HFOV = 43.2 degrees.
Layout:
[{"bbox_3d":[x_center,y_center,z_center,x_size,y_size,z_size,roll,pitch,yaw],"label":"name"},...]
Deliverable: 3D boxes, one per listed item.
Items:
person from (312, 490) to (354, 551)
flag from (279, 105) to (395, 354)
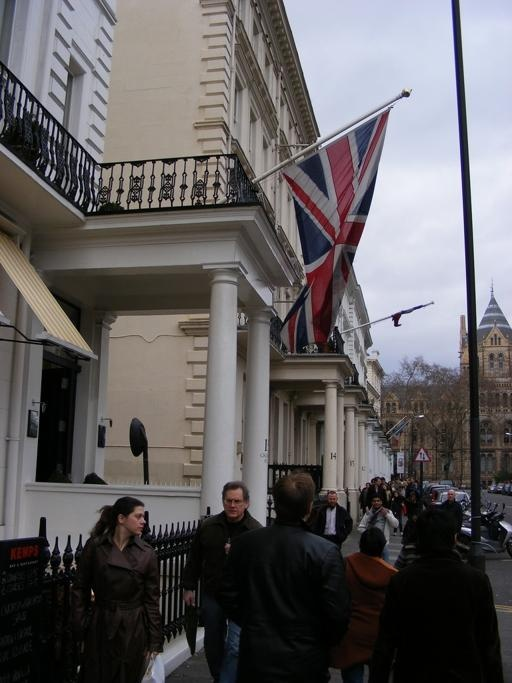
[{"bbox_3d":[1.296,3.177,10.582,0.522,1.442,0.381,-4,-24,16],"label":"person"},{"bbox_3d":[1.047,-1.737,10.220,1.397,0.288,4.960,8,-46,1],"label":"flag"}]
